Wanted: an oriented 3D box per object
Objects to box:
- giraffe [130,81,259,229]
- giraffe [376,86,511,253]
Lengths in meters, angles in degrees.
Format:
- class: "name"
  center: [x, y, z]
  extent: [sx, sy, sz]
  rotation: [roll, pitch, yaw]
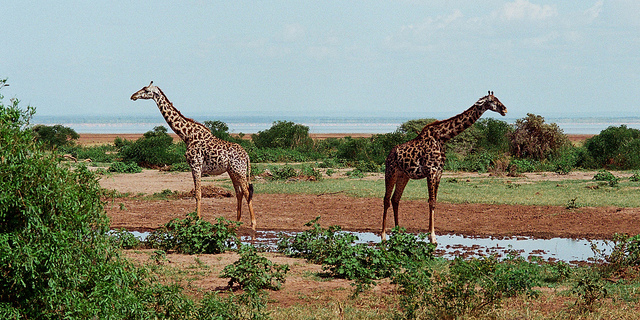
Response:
- class: "giraffe"
  center: [-5.428, -0.254, 35.080]
  extent: [5.224, 6.125, 1.625]
  rotation: [1, 3, -18]
- class: "giraffe"
  center: [4.981, 0.443, 33.618]
  extent: [5.397, 6.187, 1.757]
  rotation: [2, 4, 23]
